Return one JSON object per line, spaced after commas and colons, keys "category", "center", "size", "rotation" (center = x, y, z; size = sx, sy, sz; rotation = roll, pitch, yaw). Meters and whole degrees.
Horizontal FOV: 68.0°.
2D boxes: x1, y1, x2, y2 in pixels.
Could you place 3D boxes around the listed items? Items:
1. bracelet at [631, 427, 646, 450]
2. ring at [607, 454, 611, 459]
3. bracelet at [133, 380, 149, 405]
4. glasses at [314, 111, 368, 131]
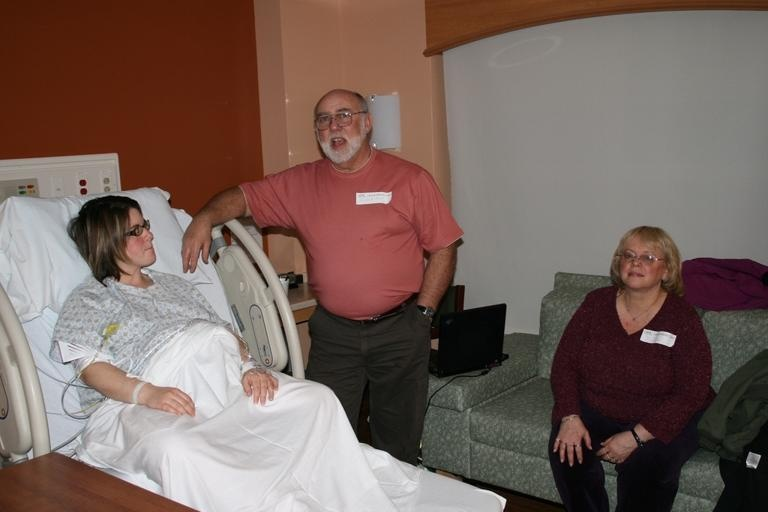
{"category": "bracelet", "center": [1.255, 0.901, 2.820], "size": [0.043, 0.077, 0.065], "rotation": [-26, -2, 31]}
{"category": "ring", "center": [1.123, 1.000, 2.839], "size": [0.018, 0.023, 0.002], "rotation": [4, 15, 30]}
{"category": "bracelet", "center": [-1.038, 0.592, 2.465], "size": [0.016, 0.074, 0.072], "rotation": [9, -9, -11]}
{"category": "glasses", "center": [-0.226, -0.724, 3.039], "size": [0.281, 0.093, 0.134], "rotation": [-5, 13, -6]}
